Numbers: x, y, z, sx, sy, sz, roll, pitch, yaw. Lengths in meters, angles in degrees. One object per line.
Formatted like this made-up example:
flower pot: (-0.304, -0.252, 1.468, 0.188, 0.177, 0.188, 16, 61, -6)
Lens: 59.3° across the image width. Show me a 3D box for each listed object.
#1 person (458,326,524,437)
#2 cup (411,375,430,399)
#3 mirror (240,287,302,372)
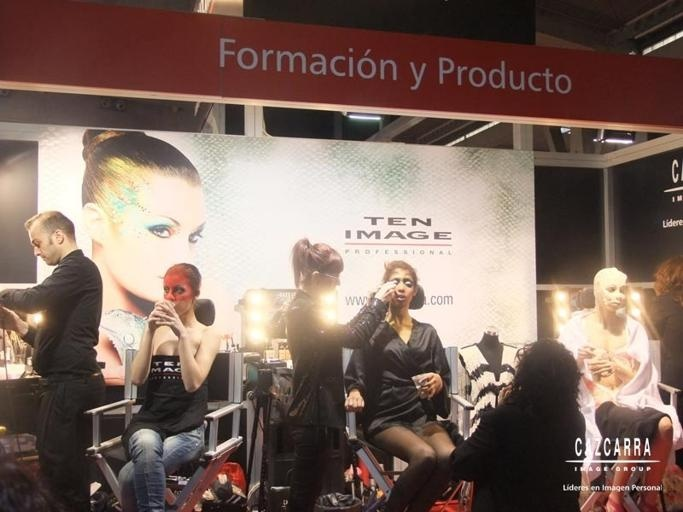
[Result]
person: (1.274, 1.053, 5.014, 0.550, 1.064, 0.196, -9, 26, 0)
cup: (0.523, 0.900, 4.096, 0.122, 0.207, 0.129, -3, -12, -1)
mirror: (-0.547, 0.537, 4.556, 0.442, 0.664, 0.065, -4, 22, -16)
